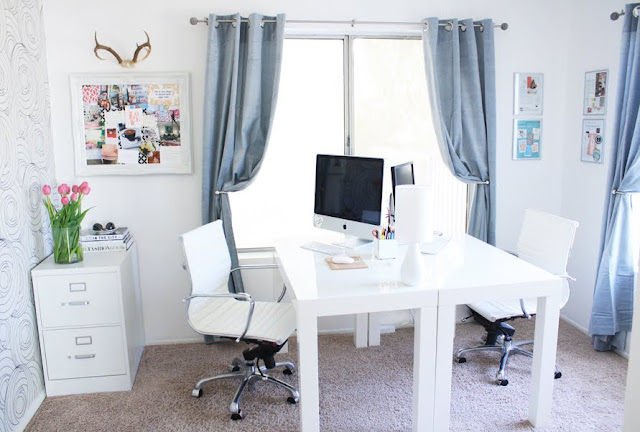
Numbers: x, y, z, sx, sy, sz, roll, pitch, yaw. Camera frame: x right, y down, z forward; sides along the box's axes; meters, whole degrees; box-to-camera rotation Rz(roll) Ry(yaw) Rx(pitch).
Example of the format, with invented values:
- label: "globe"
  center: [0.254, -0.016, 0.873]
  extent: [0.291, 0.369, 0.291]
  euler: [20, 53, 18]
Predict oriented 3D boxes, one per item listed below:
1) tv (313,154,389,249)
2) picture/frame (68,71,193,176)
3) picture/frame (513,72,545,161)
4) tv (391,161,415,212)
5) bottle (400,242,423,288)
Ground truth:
- label: "tv"
  center: [0.235, -0.106, 3.903]
  extent: [0.717, 0.762, 0.259]
  euler: [6, 7, 39]
- label: "picture/frame"
  center: [-1.678, -0.833, 4.241]
  extent: [0.826, 0.796, 0.112]
  euler: [-1, 4, -6]
- label: "picture/frame"
  center: [1.959, -0.931, 4.623]
  extent: [0.295, 0.788, 0.089]
  euler: [-4, 13, -5]
- label: "tv"
  center: [0.616, -0.213, 3.650]
  extent: [0.101, 0.296, 0.401]
  euler: [4, 7, 21]
- label: "bottle"
  center: [0.608, 0.321, 3.263]
  extent: [0.147, 0.274, 0.103]
  euler: [0, 13, 9]
